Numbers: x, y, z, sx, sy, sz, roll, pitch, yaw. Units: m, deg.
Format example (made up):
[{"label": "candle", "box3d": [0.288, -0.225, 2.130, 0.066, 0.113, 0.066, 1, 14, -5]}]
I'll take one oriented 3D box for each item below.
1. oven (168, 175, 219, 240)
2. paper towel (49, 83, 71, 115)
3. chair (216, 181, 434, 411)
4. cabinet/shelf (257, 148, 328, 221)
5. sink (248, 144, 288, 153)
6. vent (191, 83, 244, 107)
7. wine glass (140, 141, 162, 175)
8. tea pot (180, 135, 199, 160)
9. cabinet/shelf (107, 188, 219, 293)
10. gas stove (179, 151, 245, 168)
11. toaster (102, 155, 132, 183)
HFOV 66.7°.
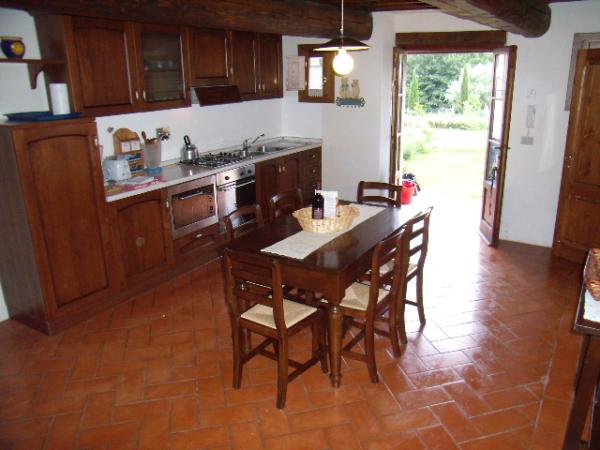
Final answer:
[{"label": "oven", "box3d": [-1.187, -0.207, 4.969, 0.405, 0.542, 0.594, 10, 21, 28]}, {"label": "paper towel", "box3d": [-2.105, -1.092, 3.969, 0.159, 0.258, 0.219, -8, 20, -19]}, {"label": "chair", "box3d": [0.220, 0.554, 3.757, 1.157, 1.213, 1.665, 13, 23, 37]}, {"label": "cabinet/shelf", "box3d": [-0.135, -0.524, 5.546, 0.366, 0.617, 1.040, 20, 34, 40]}, {"label": "sink", "box3d": [-0.510, -1.075, 6.391, 0.255, 0.114, 0.311, 13, 25, 27]}, {"label": "vent", "box3d": [-0.956, -1.537, 5.371, 0.237, 0.215, 0.760, 7, 19, 23]}, {"label": "wine glass", "box3d": [-1.648, -0.765, 5.048, 0.176, 0.357, 0.198, -3, 20, -5]}, {"label": "tea pot", "box3d": [-1.353, -0.906, 5.534, 0.197, 0.306, 0.317, -6, 13, -27]}, {"label": "cabinet/shelf", "box3d": [-1.462, 0.156, 4.719, 0.363, 0.694, 0.973, 8, 24, 25]}, {"label": "gas stove", "box3d": [-1.022, -0.786, 5.544, 0.576, 0.066, 0.663, 12, 22, 37]}, {"label": "toaster", "box3d": [-1.862, -0.574, 4.647, 0.263, 0.223, 0.266, -12, 23, -35]}]
